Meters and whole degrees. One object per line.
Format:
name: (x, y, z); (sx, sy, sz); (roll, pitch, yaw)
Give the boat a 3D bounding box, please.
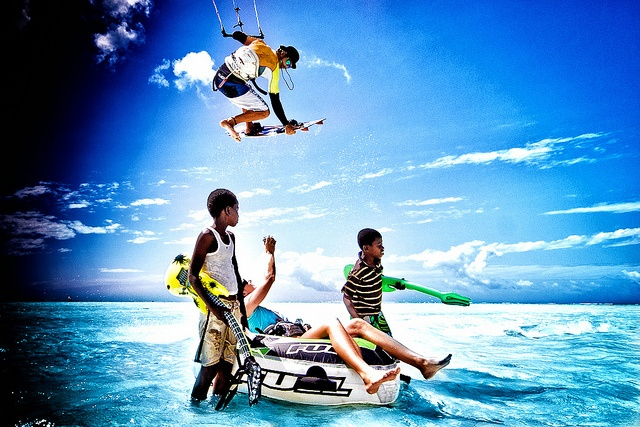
boat: (0.091, 2.499, 5.994); (2.310, 0.618, 1.260); (-1, -10, 7)
